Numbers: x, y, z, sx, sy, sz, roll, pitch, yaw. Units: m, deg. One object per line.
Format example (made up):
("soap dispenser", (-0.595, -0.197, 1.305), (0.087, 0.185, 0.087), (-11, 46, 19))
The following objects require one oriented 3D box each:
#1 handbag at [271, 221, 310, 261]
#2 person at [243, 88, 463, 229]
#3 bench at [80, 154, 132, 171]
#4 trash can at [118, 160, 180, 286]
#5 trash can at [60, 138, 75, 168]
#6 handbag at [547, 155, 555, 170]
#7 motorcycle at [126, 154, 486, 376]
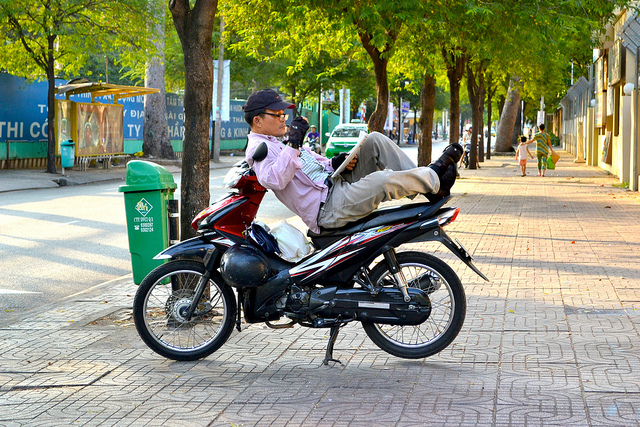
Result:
("handbag", (-0.266, 0.265, 5.386), (0.259, 0.328, 0.109), (-39, -3, -33))
("person", (0.317, -0.520, 5.416), (1.879, 1.171, 1.035), (-4, 14, 11))
("bench", (-10.266, -2.450, 29.288), (1.629, 0.622, 5.606), (-3, 7, -10))
("trash can", (-2.206, 0.100, 7.005), (0.735, 1.442, 0.678), (1, 0, 23))
("trash can", (-10.061, -2.396, 24.442), (0.524, 1.072, 0.432), (-6, 9, -32))
("handbag", (10.207, -2.293, 27.102), (0.303, 0.711, 0.558), (0, 6, -9))
("motorcycle", (-0.162, 0.371, 5.493), (3.081, 1.826, 1.226), (-2, 0, 9))
